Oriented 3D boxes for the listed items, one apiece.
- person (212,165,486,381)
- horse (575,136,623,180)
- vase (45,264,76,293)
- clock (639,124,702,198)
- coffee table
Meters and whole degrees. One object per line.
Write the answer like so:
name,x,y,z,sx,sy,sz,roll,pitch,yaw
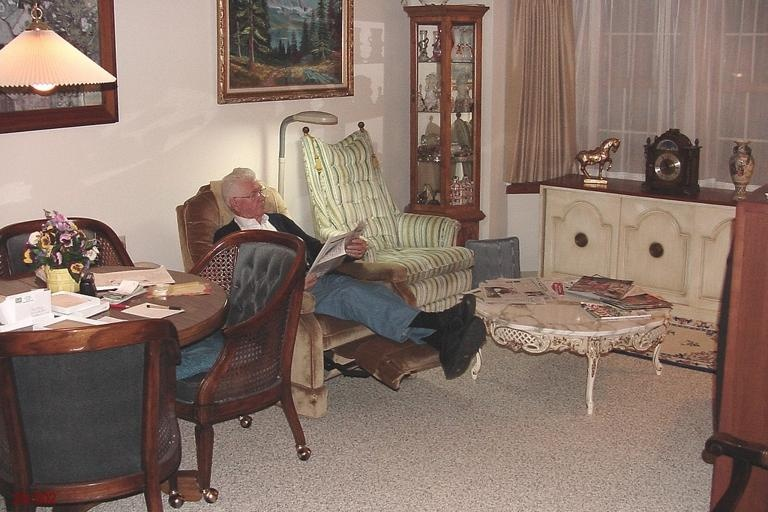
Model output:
person,-0.316,0.073,4.105,1.998,1.142,0.872,9,27,36
horse,2.115,-0.964,5.935,0.393,0.394,0.602,2,15,22
vase,-1.562,0.104,2.891,0.135,0.095,0.131,0,5,-5
clock,2.556,-0.825,5.318,0.453,0.564,0.281,2,15,22
coffee table,1.211,0.608,4.033,1.254,0.679,0.729,3,15,25
